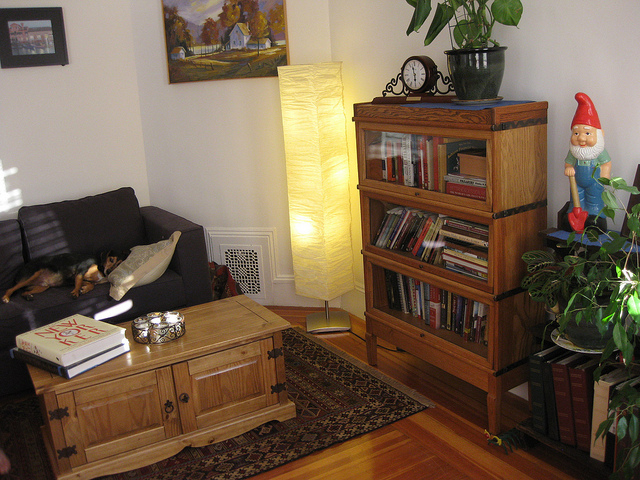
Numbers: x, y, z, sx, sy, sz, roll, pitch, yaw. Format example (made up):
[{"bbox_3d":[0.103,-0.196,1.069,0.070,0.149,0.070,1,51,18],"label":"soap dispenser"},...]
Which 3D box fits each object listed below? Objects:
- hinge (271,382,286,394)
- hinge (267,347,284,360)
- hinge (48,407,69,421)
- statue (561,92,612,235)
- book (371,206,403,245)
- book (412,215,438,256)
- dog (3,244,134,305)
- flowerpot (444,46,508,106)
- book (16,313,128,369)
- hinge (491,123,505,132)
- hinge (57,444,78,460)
[{"bbox_3d":[-0.228,0.809,2.734,0.077,0.046,0.004,-8,21,-18],"label":"hinge"},{"bbox_3d":[-0.242,0.607,2.680,0.081,0.053,0.008,-5,20,-13],"label":"hinge"},{"bbox_3d":[-1.223,0.813,2.339,0.072,0.044,0.007,-10,12,-12],"label":"hinge"},{"bbox_3d":[1.164,-0.329,2.177,0.175,0.586,0.137,6,22,26],"label":"statue"},{"bbox_3d":[0.389,-0.085,3.064,0.054,0.191,0.196,15,10,8],"label":"book"},{"bbox_3d":[0.583,-0.023,2.828,0.046,0.176,0.178,26,-13,0],"label":"book"},{"bbox_3d":[-1.715,0.253,3.380,0.579,0.162,0.292,-9,31,-17],"label":"dog"},{"bbox_3d":[0.787,-0.825,2.528,0.299,0.256,0.304,4,20,24],"label":"flowerpot"},{"bbox_3d":[-1.264,0.502,2.539,0.440,0.071,0.431,-9,19,-38],"label":"book"},{"bbox_3d":[0.814,-0.510,2.278,0.048,0.043,0.012,-4,9,-9],"label":"hinge"},{"bbox_3d":[-1.203,1.010,2.381,0.087,0.053,0.009,-17,27,-28],"label":"hinge"}]
